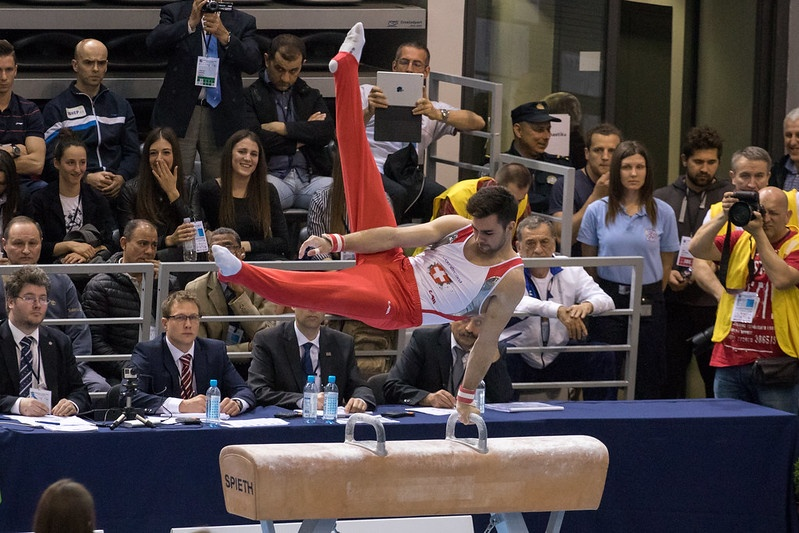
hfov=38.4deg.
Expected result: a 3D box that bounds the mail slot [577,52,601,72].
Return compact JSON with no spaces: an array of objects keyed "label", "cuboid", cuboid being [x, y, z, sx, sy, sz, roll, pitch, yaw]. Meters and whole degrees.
[{"label":"mail slot","cuboid":[2.139,-2.338,13.035,0.222,0.211,0.023,1,1,-6]}]

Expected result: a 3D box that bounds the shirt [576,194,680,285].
[{"label":"shirt","cuboid":[1.954,-0.163,10.497,1.177,1.153,0.664,0,-3,3]}]

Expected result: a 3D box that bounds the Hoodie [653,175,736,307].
[{"label":"Hoodie","cuboid":[2.707,-0.319,10.351,0.774,1.102,0.382,6,-13,-1]}]

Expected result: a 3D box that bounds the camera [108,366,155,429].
[{"label":"camera","cuboid":[-1.990,0.985,8.597,0.353,0.463,0.337,0,-4,5]}]

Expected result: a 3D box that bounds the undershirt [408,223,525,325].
[{"label":"undershirt","cuboid":[0.451,0.040,8.031,0.571,0.392,0.306,-29,-10,4]}]

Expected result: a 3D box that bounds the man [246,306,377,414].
[{"label":"man","cuboid":[-0.723,0.747,9.177,0.735,0.862,0.939,3,-11,-18]}]

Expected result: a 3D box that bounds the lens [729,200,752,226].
[{"label":"lens","cuboid":[2.744,-0.433,9.238,0.186,0.198,0.074,0,-1,16]}]

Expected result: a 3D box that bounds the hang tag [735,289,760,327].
[{"label":"hang tag","cuboid":[2.840,0.323,9.425,0.202,0.258,0.064,0,-1,9]}]

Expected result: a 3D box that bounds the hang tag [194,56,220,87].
[{"label":"hang tag","cuboid":[-1.842,-1.904,11.075,0.259,0.360,0.040,6,16,-2]}]

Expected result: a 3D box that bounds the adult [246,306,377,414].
[{"label":"adult","cuboid":[-0.712,0.749,9.189,0.735,0.862,0.939,3,-11,-18]}]

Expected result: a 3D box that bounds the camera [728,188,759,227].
[{"label":"camera","cuboid":[2.767,-0.488,9.214,0.248,0.251,0.256,-1,-1,28]}]

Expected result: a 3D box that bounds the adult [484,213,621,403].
[{"label":"adult","cuboid":[1.318,0.496,9.898,1.038,1.808,1.126,-1,5,16]}]

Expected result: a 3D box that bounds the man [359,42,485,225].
[{"label":"man","cuboid":[0.159,-1.045,11.133,1.238,2.411,1.259,4,-1,1]}]
